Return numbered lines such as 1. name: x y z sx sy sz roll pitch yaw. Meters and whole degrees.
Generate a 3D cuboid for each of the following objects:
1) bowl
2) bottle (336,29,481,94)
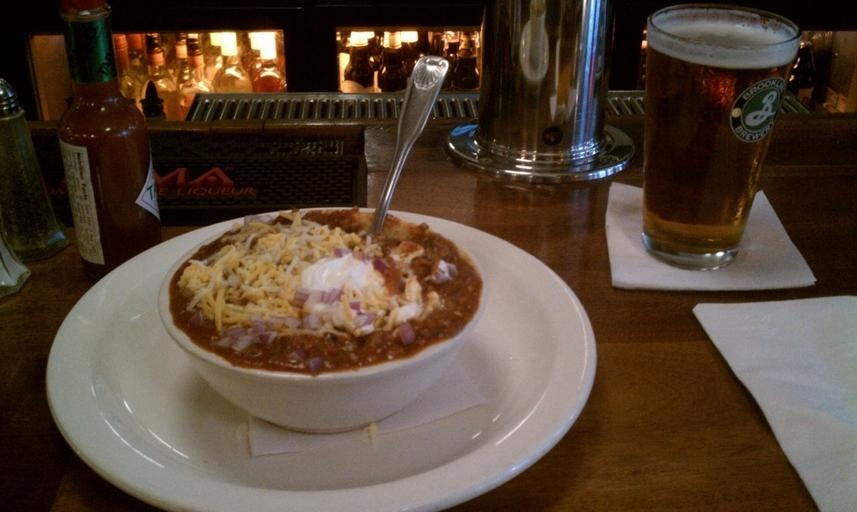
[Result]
1. bowl: -0.154 0.124 0.874 0.481 0.181 0.227 1 30 -1
2. bottle: -0.100 -0.892 2.707 0.655 0.261 0.234 2 31 0
